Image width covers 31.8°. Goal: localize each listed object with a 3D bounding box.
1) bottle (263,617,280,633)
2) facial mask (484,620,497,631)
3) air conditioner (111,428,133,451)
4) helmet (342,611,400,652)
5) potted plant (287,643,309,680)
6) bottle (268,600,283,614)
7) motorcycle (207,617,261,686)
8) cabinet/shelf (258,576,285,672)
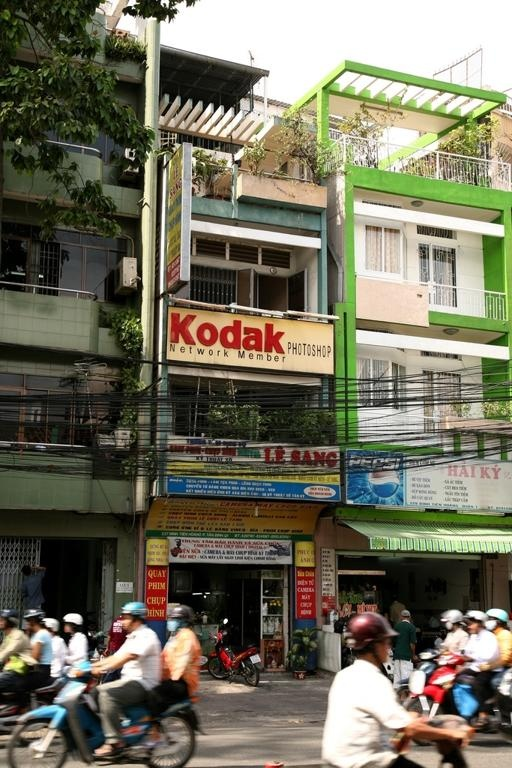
[{"bbox_3d":[0.300,4.959,18.427,0.278,0.267,0.151,5,-30,-10],"label":"bottle"},{"bbox_3d":[2.542,2.595,9.694,0.100,0.134,0.134,-7,-14,-1],"label":"facial mask"},{"bbox_3d":[-2.573,1.075,17.169,0.433,0.530,0.421,-1,-8,1],"label":"air conditioner"},{"bbox_3d":[0.513,1.087,3.926,0.218,0.122,0.151,-14,13,-19],"label":"helmet"},{"bbox_3d":[0.828,5.485,17.757,0.347,0.639,0.652,-1,-9,1],"label":"potted plant"},{"bbox_3d":[0.394,4.624,18.551,0.242,0.250,0.136,3,-25,-32],"label":"bottle"},{"bbox_3d":[-0.363,4.822,16.142,0.529,1.091,1.488,-1,-5,-39],"label":"motorcycle"},{"bbox_3d":[0.345,4.809,18.557,0.502,2.259,0.234,0,-1,-7],"label":"cabinet/shelf"}]
